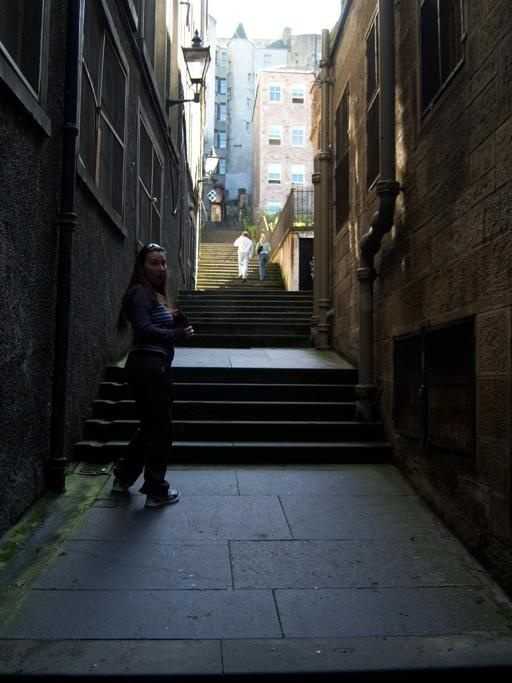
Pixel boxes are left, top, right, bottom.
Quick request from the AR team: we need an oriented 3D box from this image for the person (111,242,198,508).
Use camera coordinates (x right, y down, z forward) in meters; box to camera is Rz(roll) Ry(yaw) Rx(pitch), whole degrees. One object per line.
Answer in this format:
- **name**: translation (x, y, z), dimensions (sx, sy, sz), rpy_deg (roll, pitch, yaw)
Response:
- **person**: translation (-0.726, 0.222, 3.708), dimensions (0.461, 1.839, 0.643), rpy_deg (-1, 3, -22)

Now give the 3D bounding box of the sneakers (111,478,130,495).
- **sneakers**: translation (-1.020, 1.073, 3.929), dimensions (0.051, 0.107, 0.193), rpy_deg (3, 1, 4)
